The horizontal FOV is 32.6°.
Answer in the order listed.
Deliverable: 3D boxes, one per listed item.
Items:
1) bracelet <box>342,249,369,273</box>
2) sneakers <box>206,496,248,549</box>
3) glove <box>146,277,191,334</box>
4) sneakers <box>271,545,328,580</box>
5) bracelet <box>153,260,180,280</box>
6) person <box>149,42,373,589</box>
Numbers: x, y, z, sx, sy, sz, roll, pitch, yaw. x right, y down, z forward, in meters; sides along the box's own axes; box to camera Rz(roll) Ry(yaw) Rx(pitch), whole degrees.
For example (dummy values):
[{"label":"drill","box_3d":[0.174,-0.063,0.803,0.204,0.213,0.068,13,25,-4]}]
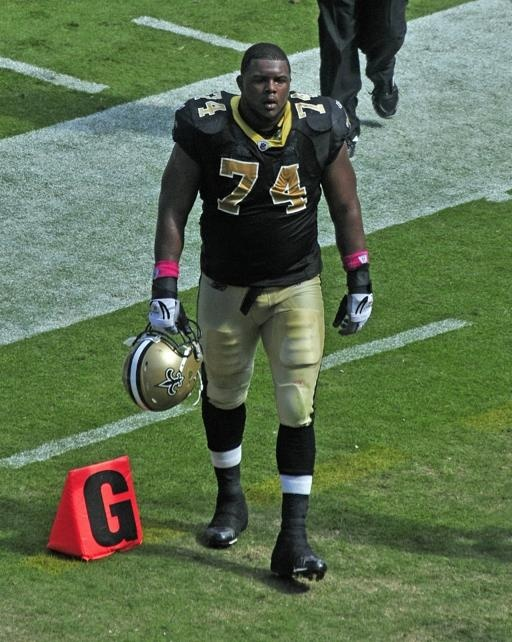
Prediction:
[{"label":"bracelet","box_3d":[0.396,-0.224,3.282,0.094,0.055,0.075,-24,-4,33]},{"label":"sneakers","box_3d":[-0.100,0.772,3.327,0.090,0.092,0.240,2,2,12]},{"label":"glove","box_3d":[-0.326,-0.052,3.155,0.184,0.184,0.084,-7,-11,-5]},{"label":"sneakers","box_3d":[0.148,0.822,2.985,0.121,0.058,0.179,7,-8,-32]},{"label":"bracelet","box_3d":[-0.325,-0.182,3.122,0.082,0.044,0.073,4,-2,-28]},{"label":"person","box_3d":[-0.011,-0.051,3.175,0.666,1.836,0.629,5,15,26]}]
